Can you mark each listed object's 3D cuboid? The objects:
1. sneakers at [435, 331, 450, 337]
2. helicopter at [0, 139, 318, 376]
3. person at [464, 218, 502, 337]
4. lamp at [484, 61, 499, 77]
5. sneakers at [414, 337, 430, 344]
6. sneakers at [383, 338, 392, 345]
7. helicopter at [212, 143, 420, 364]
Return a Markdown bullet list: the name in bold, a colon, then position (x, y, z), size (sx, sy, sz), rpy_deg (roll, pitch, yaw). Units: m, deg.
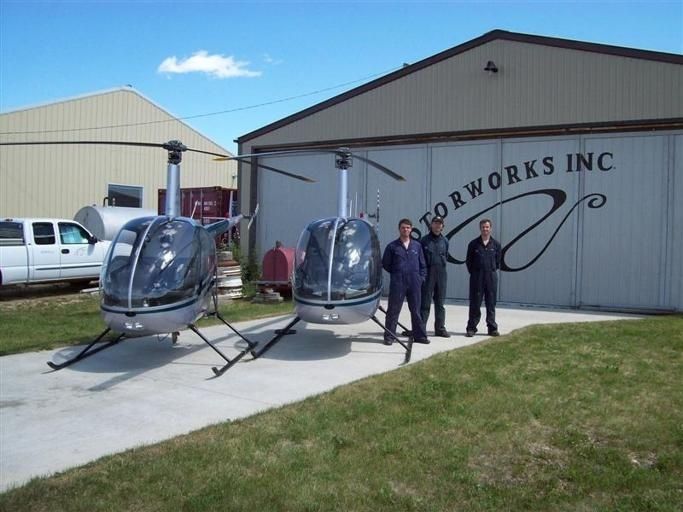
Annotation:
- **sneakers**: position (1.723, 1.340, 10.360), size (0.096, 0.111, 0.257), rpy_deg (1, -4, -39)
- **helicopter**: position (-2.597, -0.359, 9.625), size (3.224, 2.088, 3.568), rpy_deg (1, 2, 13)
- **person**: position (2.409, 0.385, 10.367), size (0.575, 1.978, 0.593), rpy_deg (1, 8, 13)
- **lamp**: position (3.476, -4.348, 14.084), size (0.329, 0.323, 0.156), rpy_deg (0, 8, 10)
- **sneakers**: position (1.312, 1.367, 9.837), size (0.097, 0.123, 0.269), rpy_deg (1, -7, -25)
- **sneakers**: position (0.754, 1.392, 9.846), size (0.082, 0.083, 0.189), rpy_deg (-1, -9, 10)
- **helicopter**: position (0.071, -0.322, 10.892), size (3.421, 3.118, 5.016), rpy_deg (1, 7, 4)
